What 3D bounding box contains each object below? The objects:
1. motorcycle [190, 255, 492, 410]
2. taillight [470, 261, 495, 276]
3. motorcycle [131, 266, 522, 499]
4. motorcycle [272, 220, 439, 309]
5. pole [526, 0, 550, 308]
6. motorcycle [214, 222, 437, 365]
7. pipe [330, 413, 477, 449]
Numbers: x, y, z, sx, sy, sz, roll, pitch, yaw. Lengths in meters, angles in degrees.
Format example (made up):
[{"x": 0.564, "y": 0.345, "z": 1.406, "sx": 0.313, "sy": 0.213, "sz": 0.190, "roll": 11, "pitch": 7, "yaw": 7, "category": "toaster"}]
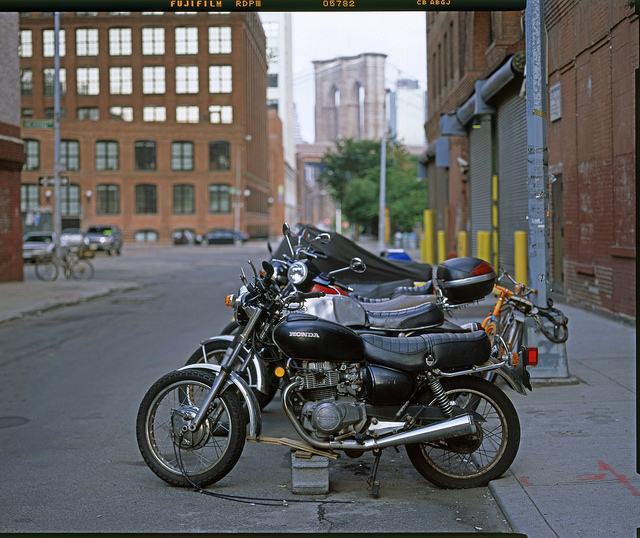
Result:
[{"x": 0.218, "y": 0.509, "z": 7.253, "sx": 2.454, "sy": 1.596, "sz": 1.437, "roll": 1, "pitch": 1, "yaw": 1, "category": "motorcycle"}, {"x": 1.509, "y": -0.002, "z": 7.424, "sx": 0.171, "sy": 0.081, "sz": 0.125, "roll": -1, "pitch": -6, "yaw": -32, "category": "taillight"}, {"x": 0.051, "y": 0.977, "z": 6.796, "sx": 3.164, "sy": 1.908, "sz": 1.352, "roll": 1, "pitch": 3, "yaw": 5, "category": "motorcycle"}, {"x": 0.321, "y": 0.170, "z": 7.108, "sx": 1.571, "sy": 1.051, "sz": 1.059, "roll": 2, "pitch": 4, "yaw": 2, "category": "motorcycle"}, {"x": 2.528, "y": -1.312, "z": 9.309, "sx": 0.354, "sy": 3.483, "sz": 0.514, "roll": 2, "pitch": 9, "yaw": 15, "category": "pole"}, {"x": 0.059, "y": 0.122, "z": 7.315, "sx": 2.312, "sy": 1.615, "sz": 1.448, "roll": 1, "pitch": 3, "yaw": 2, "category": "motorcycle"}, {"x": 0.707, "y": 1.322, "z": 6.468, "sx": 1.181, "sy": 0.260, "sz": 0.144, "roll": -1, "pitch": 8, "yaw": -5, "category": "pipe"}]
